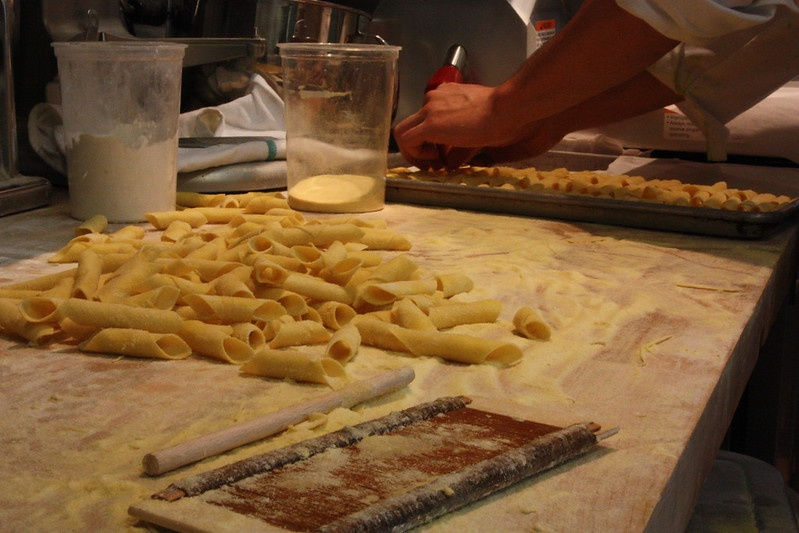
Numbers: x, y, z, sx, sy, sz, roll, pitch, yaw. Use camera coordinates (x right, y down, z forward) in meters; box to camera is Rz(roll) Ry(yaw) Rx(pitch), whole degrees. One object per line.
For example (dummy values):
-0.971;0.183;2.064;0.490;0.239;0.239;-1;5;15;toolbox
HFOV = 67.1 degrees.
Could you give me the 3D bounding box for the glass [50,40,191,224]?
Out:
-0.543;-0.278;1.362;0.380;0.350;0.354;0;10;-39;glass
